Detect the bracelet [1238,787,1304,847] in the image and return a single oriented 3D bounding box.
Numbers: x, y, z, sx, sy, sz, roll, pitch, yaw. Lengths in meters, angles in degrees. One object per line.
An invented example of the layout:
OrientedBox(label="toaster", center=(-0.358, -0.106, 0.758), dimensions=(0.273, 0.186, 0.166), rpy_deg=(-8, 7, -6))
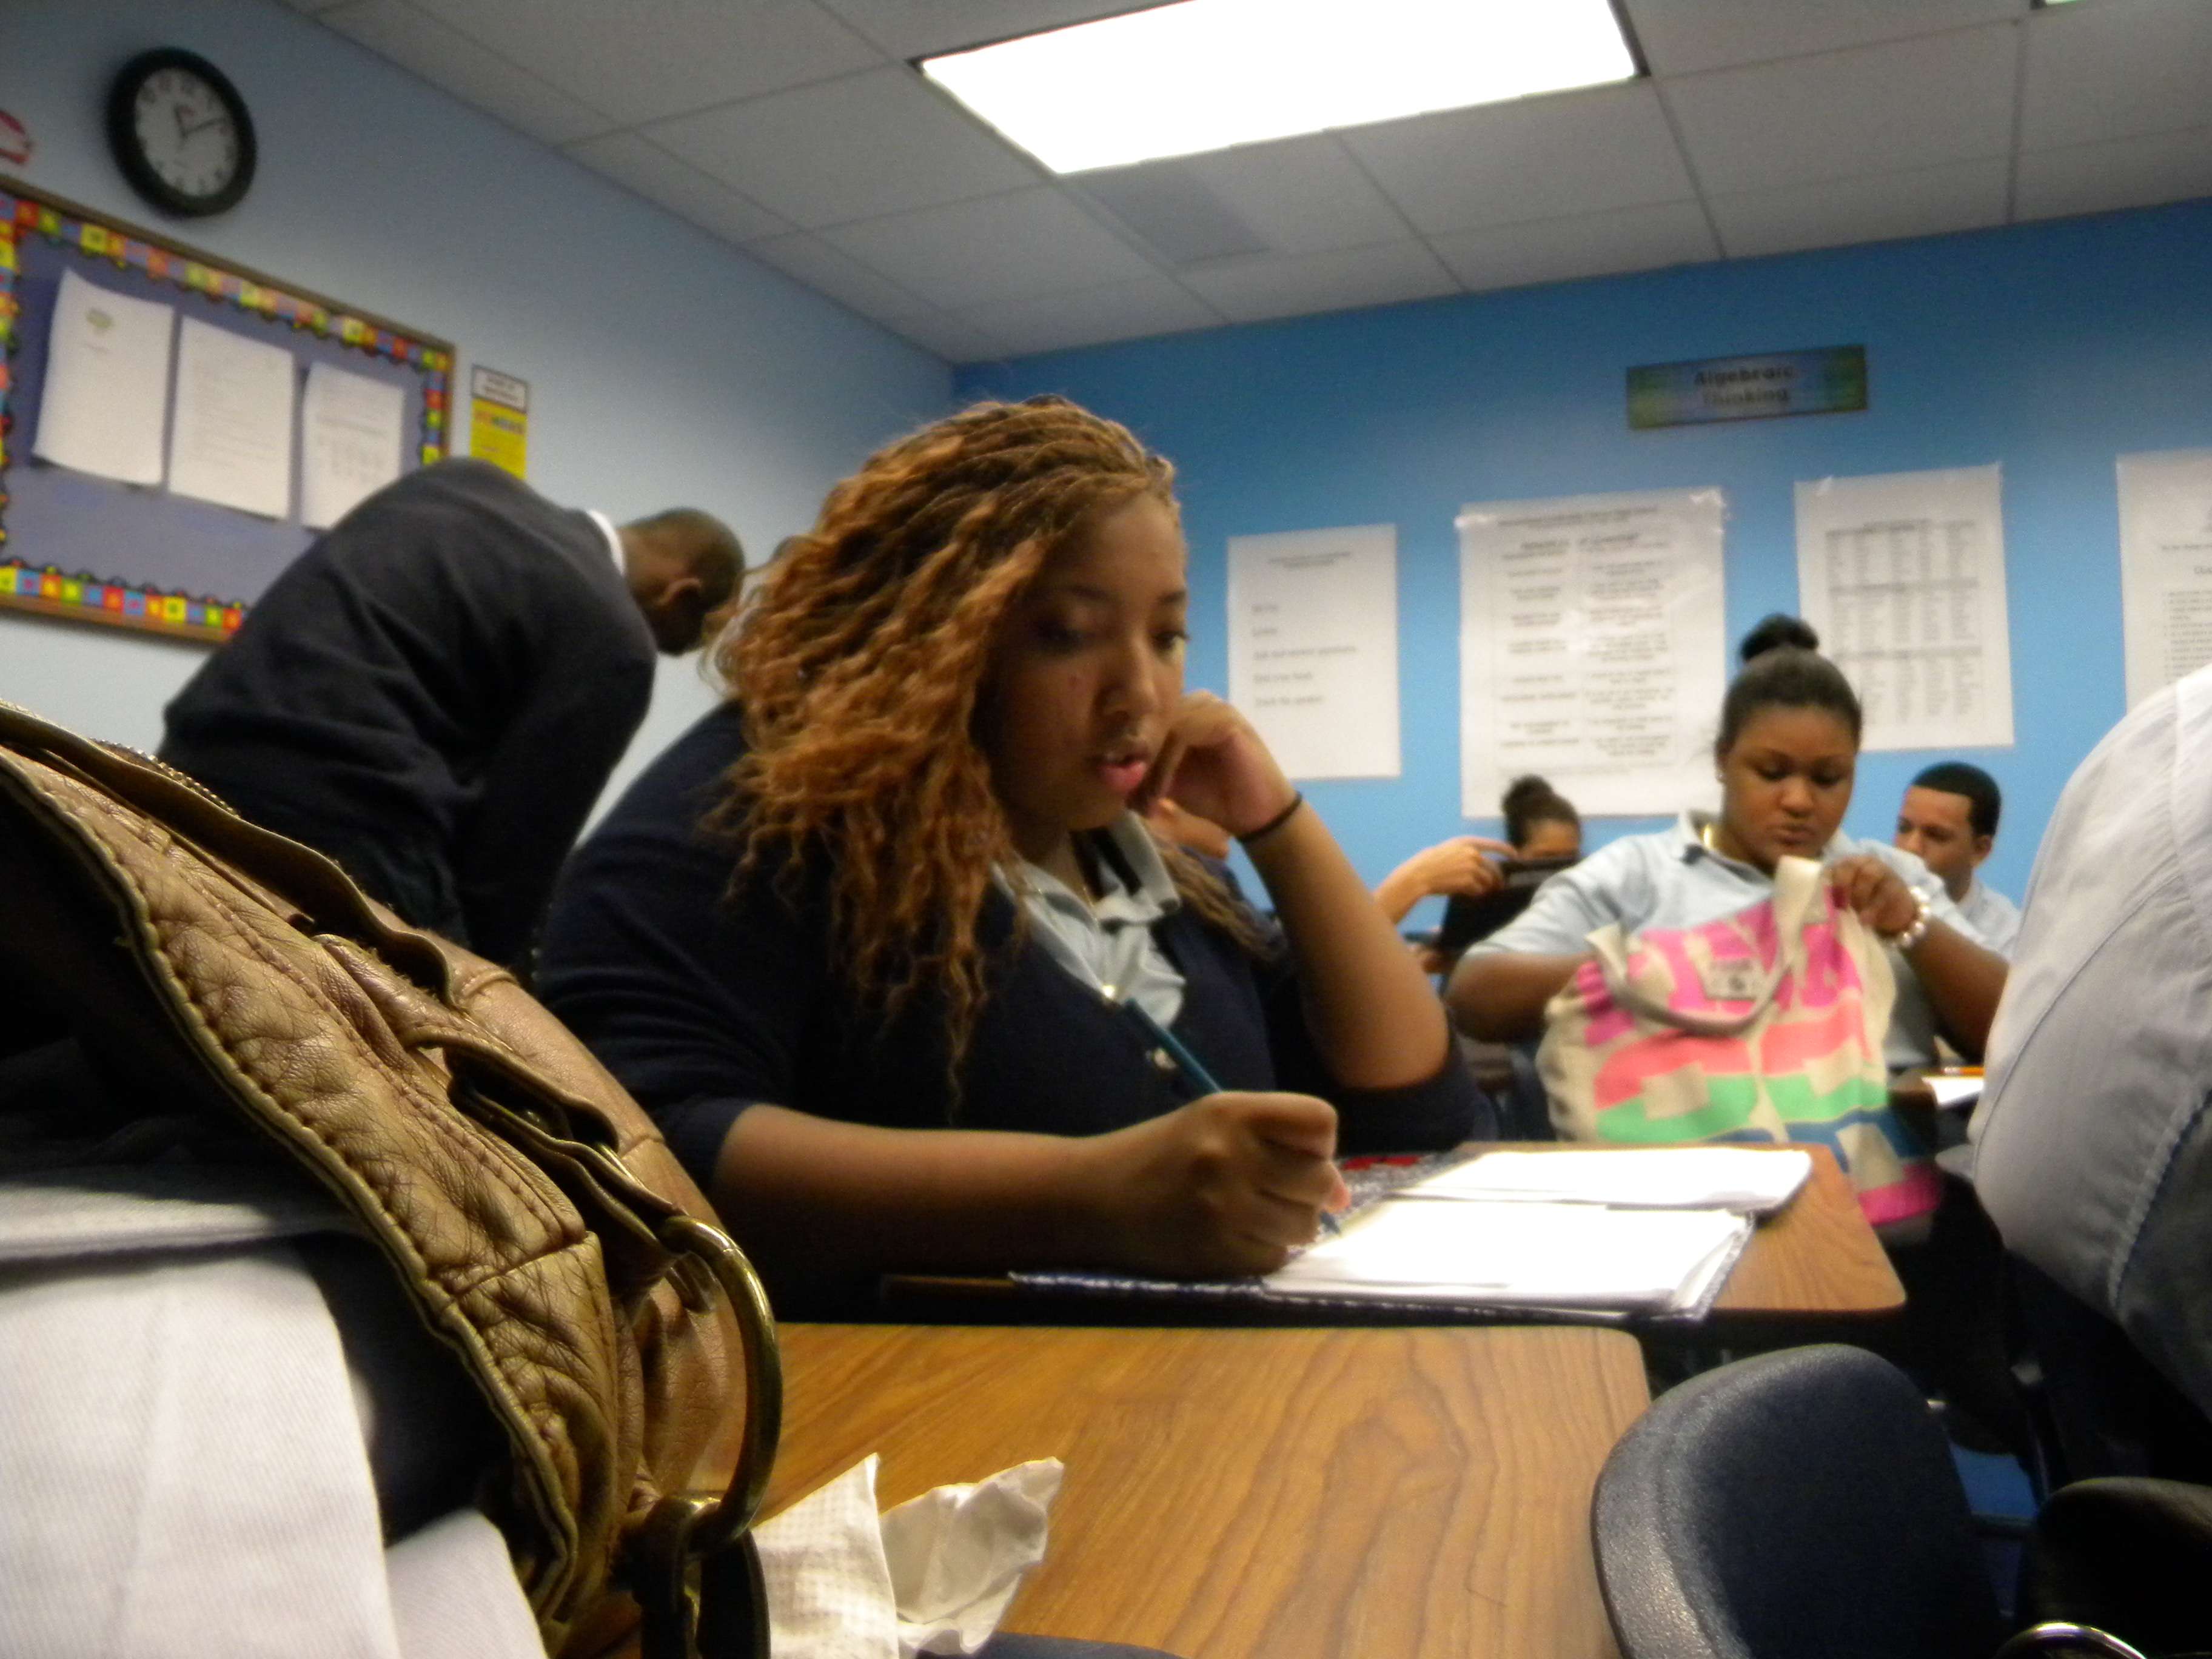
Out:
OrientedBox(label="bracelet", center=(0.145, -0.006, 1.311), dimensions=(0.044, 0.012, 0.047), rpy_deg=(-35, 7, 20))

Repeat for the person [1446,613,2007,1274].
OrientedBox(label="person", center=(0.811, 0.116, 1.942), dimensions=(0.625, 0.777, 0.384), rpy_deg=(2, 5, 6))

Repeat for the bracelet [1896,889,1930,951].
OrientedBox(label="bracelet", center=(1.105, 0.124, 2.066), dimensions=(0.026, 0.071, 0.056), rpy_deg=(27, -13, -3))

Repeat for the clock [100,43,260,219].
OrientedBox(label="clock", center=(-1.538, -1.163, 2.501), dimensions=(0.049, 0.313, 0.233), rpy_deg=(0, 0, 29))
